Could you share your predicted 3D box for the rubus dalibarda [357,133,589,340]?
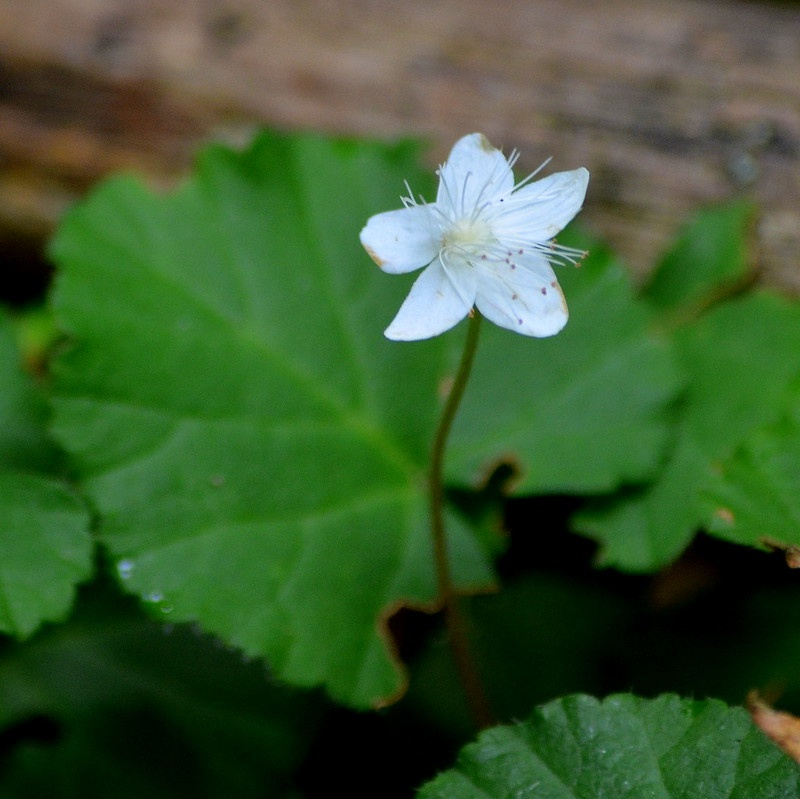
[{"bbox_3d":[0.122,-0.246,1.517,0.366,0.229,0.312,-4,37,-5],"label":"rubus dalibarda"}]
